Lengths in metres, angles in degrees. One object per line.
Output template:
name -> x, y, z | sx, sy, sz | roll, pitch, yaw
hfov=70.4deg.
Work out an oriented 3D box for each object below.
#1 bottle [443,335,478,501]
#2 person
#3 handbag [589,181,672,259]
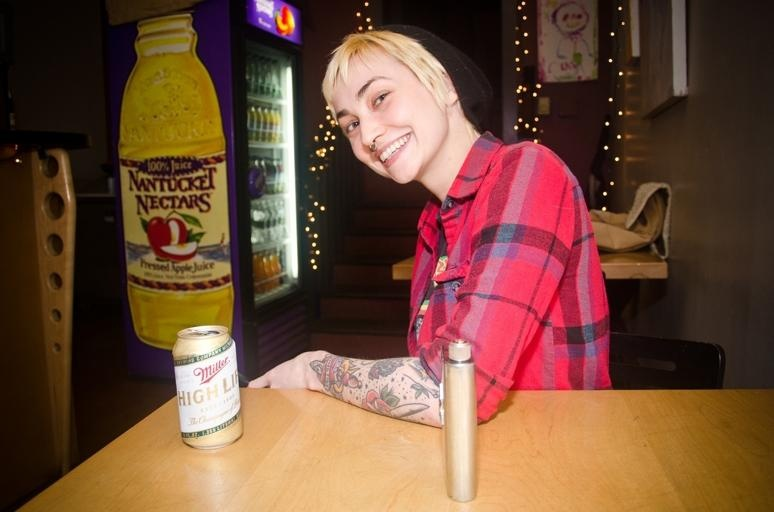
bottle -> 0.176, 0.401, 1.326 | 0.083, 0.397, 0.047 | -1, 10, 5
person -> 0.193, -0.138, 1.714 | 0.942, 1.205, 0.684 | 4, 12, 27
handbag -> 1.408, -0.198, 3.143 | 0.477, 0.267, 0.468 | -8, 7, -39
